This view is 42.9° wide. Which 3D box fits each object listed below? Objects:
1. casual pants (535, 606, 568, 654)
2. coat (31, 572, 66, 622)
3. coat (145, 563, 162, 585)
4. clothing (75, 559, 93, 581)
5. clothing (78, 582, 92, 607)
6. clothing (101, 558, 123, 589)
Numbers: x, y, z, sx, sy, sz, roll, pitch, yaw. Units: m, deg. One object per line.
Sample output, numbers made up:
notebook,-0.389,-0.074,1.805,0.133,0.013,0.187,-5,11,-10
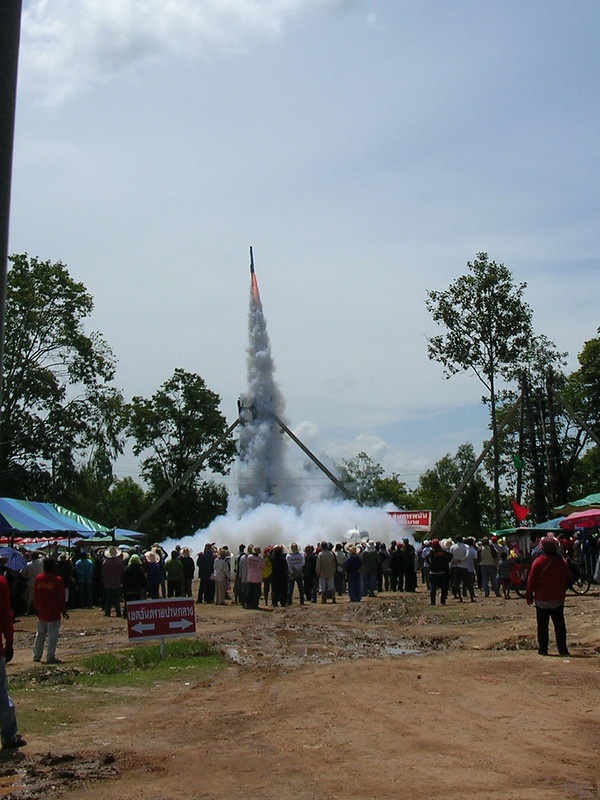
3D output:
casual pants,3.894,3.546,11.836,0.444,0.710,0.696,-5,-11,17
coat,-4.044,3.197,12.368,0.460,0.801,0.625,2,-11,-19
coat,-3.892,4.570,20.167,0.402,0.705,0.656,-3,-5,5
clothing,-6.676,5.231,23.609,0.546,0.693,0.928,1,-11,-16
clothing,-6.803,6.125,24.172,0.486,0.793,1.011,1,-11,-16
clothing,-4.951,4.549,20.082,0.519,0.863,0.749,1,-11,-16
